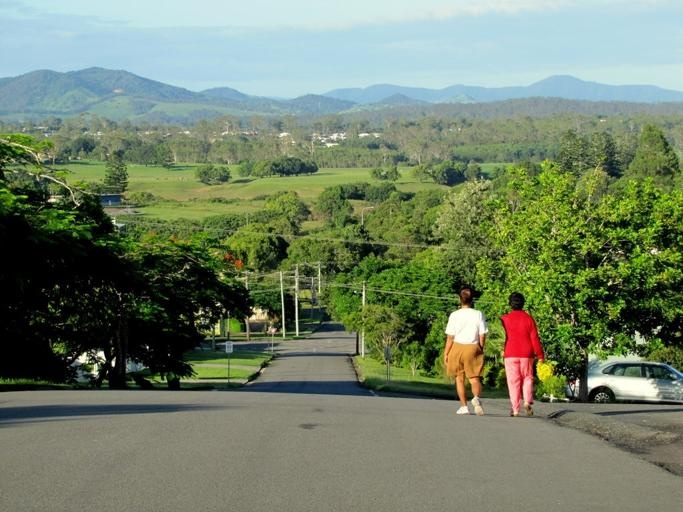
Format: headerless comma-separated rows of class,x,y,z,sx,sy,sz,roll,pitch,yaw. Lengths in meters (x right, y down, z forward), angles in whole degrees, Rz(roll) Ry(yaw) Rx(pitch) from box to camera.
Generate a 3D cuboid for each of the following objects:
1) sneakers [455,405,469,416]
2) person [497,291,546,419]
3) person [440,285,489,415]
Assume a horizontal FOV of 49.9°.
sneakers,2.465,3.129,14.777,0.147,0.179,0.392,0,0,-6
person,3.472,1.923,14.102,0.716,2.400,1.169,0,-6,16
person,2.301,1.716,13.818,0.755,2.161,0.963,2,-5,-9
